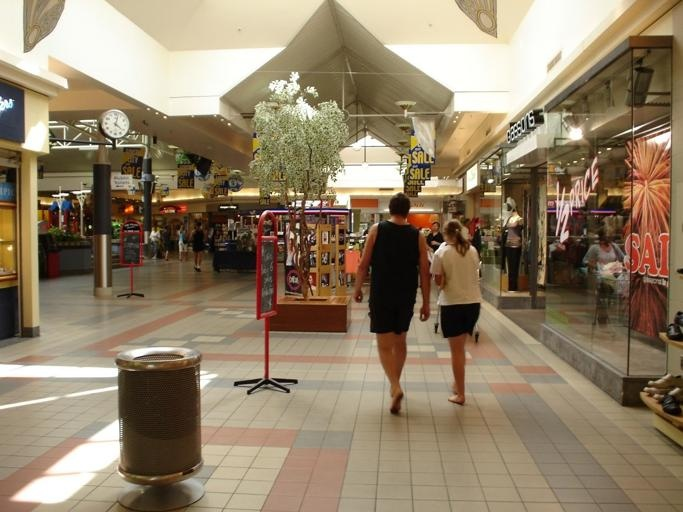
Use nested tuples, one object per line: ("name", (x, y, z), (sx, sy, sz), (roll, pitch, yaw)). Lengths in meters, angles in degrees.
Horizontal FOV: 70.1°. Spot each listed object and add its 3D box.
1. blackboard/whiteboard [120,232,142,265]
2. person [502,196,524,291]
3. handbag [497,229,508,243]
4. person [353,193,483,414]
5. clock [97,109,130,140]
("blackboard/whiteboard", (-5.715, -0.220, 13.355), (0.525, 0.910, 0.443), (-2, 4, -30))
("person", (4.023, -0.284, 11.533), (0.830, 2.193, 0.303), (-2, 4, -32))
("handbag", (3.745, -0.460, 11.429), (0.190, 0.336, 0.483), (1, 4, 24))
("person", (0.736, 0.457, 5.138), (1.132, 2.251, 0.630), (-2, 3, -22))
("clock", (-5.543, -3.216, 11.910), (0.655, 0.847, 0.487), (-3, 4, -36))
